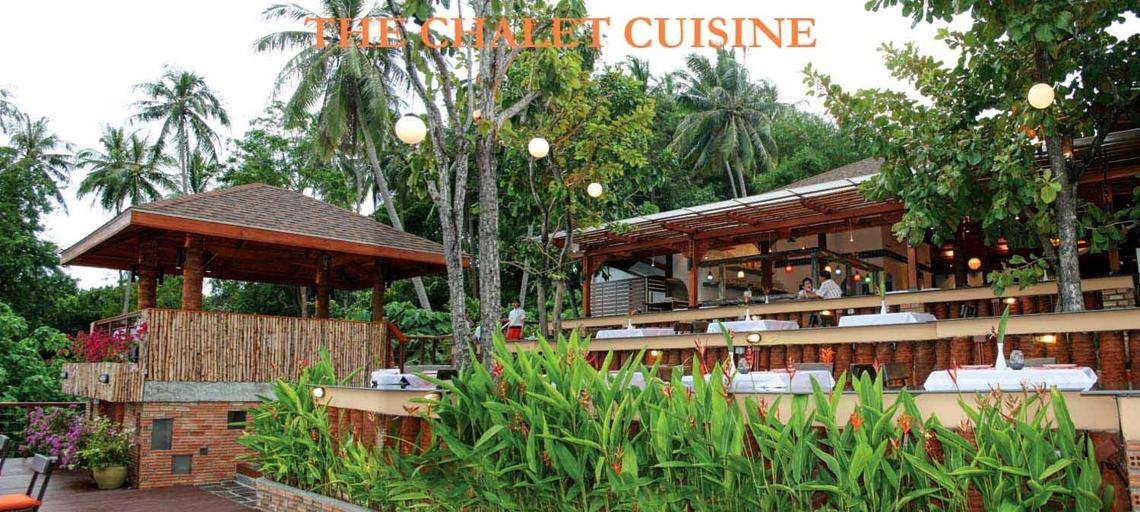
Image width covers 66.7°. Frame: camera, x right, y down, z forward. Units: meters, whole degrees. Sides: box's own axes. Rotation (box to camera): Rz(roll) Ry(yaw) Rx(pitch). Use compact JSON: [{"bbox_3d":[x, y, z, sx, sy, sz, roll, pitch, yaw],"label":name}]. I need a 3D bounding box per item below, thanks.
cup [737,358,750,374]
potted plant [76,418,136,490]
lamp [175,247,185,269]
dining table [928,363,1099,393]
[{"bbox_3d":[6.018,3.782,29.877,0.558,0.481,0.551,2,-9,0],"label":"cup"},{"bbox_3d":[-17.919,7.594,33.516,2.243,2.744,1.017,-3,-10,12],"label":"potted plant"},{"bbox_3d":[-15.570,0.071,34.847,0.250,0.880,1.965,4,-11,-28],"label":"lamp"},{"bbox_3d":[14.469,3.928,28.177,5.005,0.808,1.902,0,-10,-4],"label":"dining table"}]
